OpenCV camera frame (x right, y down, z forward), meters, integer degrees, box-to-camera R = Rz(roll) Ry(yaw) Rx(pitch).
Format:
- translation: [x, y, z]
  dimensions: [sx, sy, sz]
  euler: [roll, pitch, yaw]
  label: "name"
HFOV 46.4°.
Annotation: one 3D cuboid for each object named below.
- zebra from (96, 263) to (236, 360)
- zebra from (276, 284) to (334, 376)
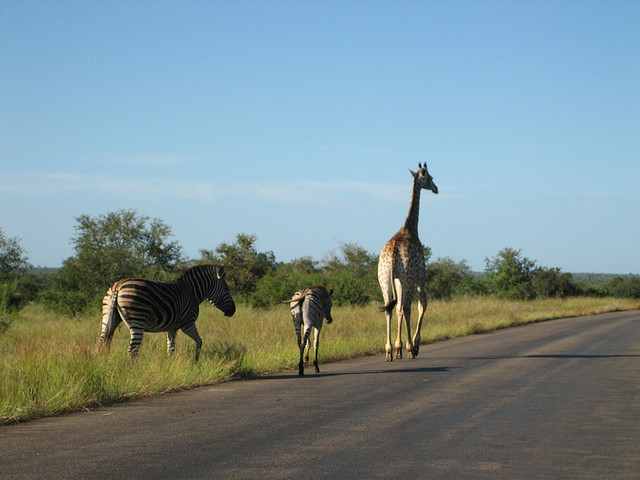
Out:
- translation: [-3.602, 1.737, 17.872]
  dimensions: [1.252, 1.659, 3.477]
  euler: [0, 0, 28]
  label: "zebra"
- translation: [-0.202, 2.167, 18.409]
  dimensions: [1.012, 1.775, 2.136]
  euler: [0, 0, 0]
  label: "zebra"
